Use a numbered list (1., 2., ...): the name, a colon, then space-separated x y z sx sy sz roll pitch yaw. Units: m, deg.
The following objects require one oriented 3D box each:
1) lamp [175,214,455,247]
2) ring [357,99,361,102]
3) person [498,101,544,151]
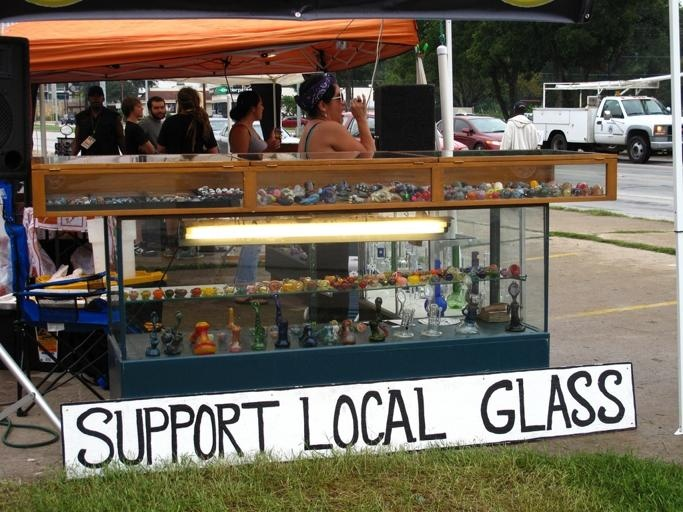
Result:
1. lamp: -0.163 -0.186 5.748 1.937 0.236 0.069 -3 10 -14
2. ring: 0.152 -1.270 6.471 0.019 0.017 0.030 -7 19 5
3. person: 3.006 -2.005 13.080 0.605 1.050 0.378 0 38 19
